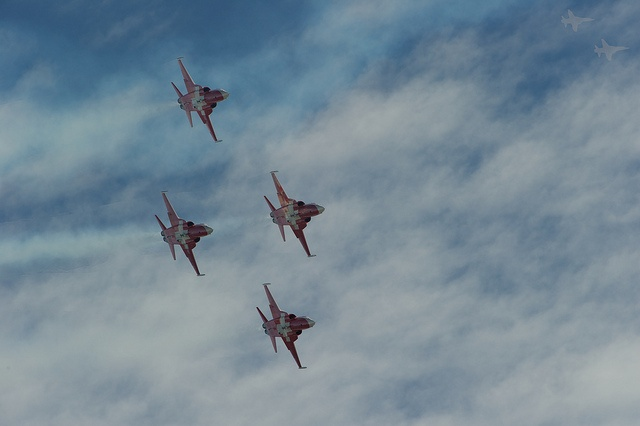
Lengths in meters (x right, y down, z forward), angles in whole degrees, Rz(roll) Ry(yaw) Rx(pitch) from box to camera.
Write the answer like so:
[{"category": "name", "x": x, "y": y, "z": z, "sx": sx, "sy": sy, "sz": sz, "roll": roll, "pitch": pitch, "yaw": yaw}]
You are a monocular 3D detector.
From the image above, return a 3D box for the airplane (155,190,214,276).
[{"category": "airplane", "x": -32.400, "y": 5.196, "z": 295.807, "sx": 20.144, "sy": 3.933, "sz": 15.810, "roll": 49, "pitch": -57, "yaw": 2}]

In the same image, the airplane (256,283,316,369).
[{"category": "airplane", "x": -7.604, "y": 26.018, "z": 296.514, "sx": 17.988, "sy": 22.882, "sz": 5.229, "roll": -1, "pitch": -31, "yaw": -43}]

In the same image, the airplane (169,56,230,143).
[{"category": "airplane", "x": -28.512, "y": -26.138, "z": 297.978, "sx": 14.668, "sy": 3.651, "sz": 19.885, "roll": -13, "pitch": -94, "yaw": -35}]
